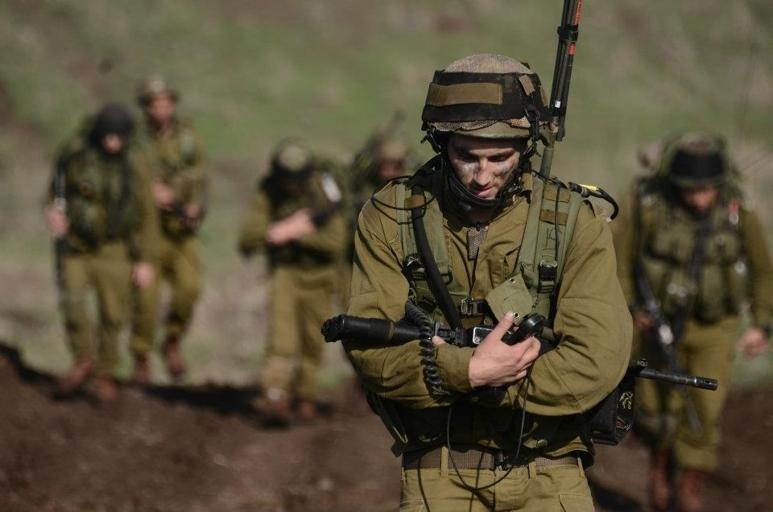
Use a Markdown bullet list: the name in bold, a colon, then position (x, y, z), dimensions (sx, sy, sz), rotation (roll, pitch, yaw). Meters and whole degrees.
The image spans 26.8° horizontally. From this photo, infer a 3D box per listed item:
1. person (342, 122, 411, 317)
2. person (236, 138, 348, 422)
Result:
- **person**: position (-0.107, -0.168, 12.435), dimensions (0.365, 1.628, 0.429), rotation (7, 6, -8)
- **person**: position (-0.742, 0.102, 12.550), dimensions (0.809, 1.946, 0.267), rotation (5, 13, -7)
